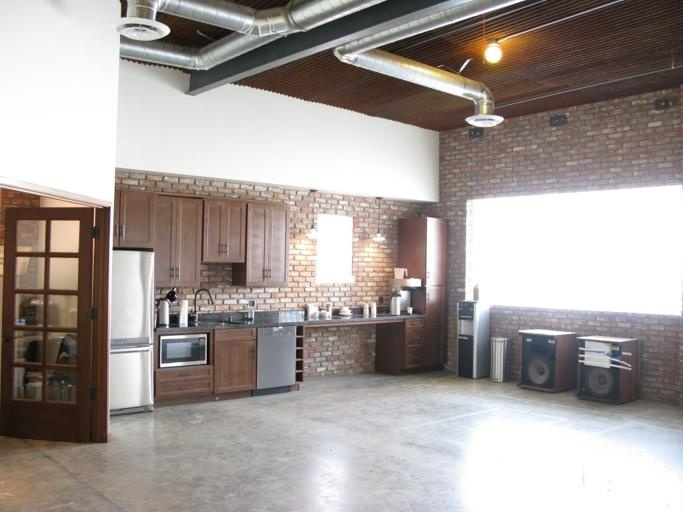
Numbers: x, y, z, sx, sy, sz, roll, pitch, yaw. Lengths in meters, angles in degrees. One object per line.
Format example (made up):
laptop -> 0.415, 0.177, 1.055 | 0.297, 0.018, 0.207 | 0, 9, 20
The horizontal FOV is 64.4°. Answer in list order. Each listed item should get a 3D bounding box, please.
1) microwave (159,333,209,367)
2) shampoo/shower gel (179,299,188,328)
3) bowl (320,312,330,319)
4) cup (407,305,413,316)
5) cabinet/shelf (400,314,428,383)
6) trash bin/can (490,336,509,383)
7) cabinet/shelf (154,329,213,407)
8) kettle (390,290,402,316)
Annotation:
microwave -> -2.174, 1.295, 7.471 | 0.765, 0.429, 0.427 | 5, -8, -39
shampoo/shower gel -> -2.248, 0.812, 7.745 | 0.134, 0.364, 0.692 | 2, -2, -16
bowl -> -0.289, 1.004, 9.066 | 0.131, 0.107, 0.126 | 1, -5, 0
cup -> 1.271, 1.021, 10.081 | 0.117, 0.146, 0.115 | 1, 5, 0
cabinet/shelf -> 1.314, 1.555, 9.792 | 0.501, 0.846, 0.127 | 3, -3, -44
trash bin/can -> 2.711, 1.779, 9.309 | 0.300, 0.721, 0.360 | 0, -2, 16
cabinet/shelf -> -2.318, 1.545, 7.685 | 1.068, 1.125, 0.887 | 4, -8, -33
kettle -> 0.985, 0.853, 9.870 | 0.208, 0.438, 0.510 | 1, -2, 5
